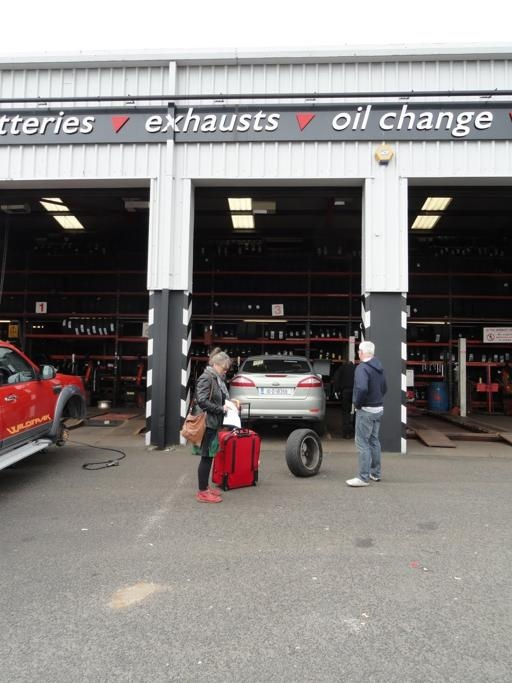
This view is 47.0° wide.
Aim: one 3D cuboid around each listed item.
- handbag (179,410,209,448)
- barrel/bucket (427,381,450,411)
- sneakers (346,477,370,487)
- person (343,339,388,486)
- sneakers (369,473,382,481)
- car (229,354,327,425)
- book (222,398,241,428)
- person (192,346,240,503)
[{"bbox_3d":[-0.594,0.833,5.591,0.236,0.337,0.150,0,0,39],"label":"handbag"},{"bbox_3d":[4.587,1.386,14.938,0.490,0.728,0.357,1,0,16],"label":"barrel/bucket"},{"bbox_3d":[1.098,1.531,6.455,0.262,0.108,0.094,4,-8,-9],"label":"sneakers"},{"bbox_3d":[1.223,0.792,6.617,0.387,1.579,0.593,1,0,14],"label":"person"},{"bbox_3d":[1.342,1.538,6.711,0.105,0.118,0.293,1,-8,5],"label":"sneakers"},{"bbox_3d":[0.304,0.734,8.768,1.482,1.094,3.241,1,3,4],"label":"car"},{"bbox_3d":[-0.239,0.707,5.967,0.087,0.293,0.216,-19,-28,41],"label":"book"},{"bbox_3d":[-0.431,0.821,5.741,0.337,1.437,0.533,1,0,-1],"label":"person"}]
